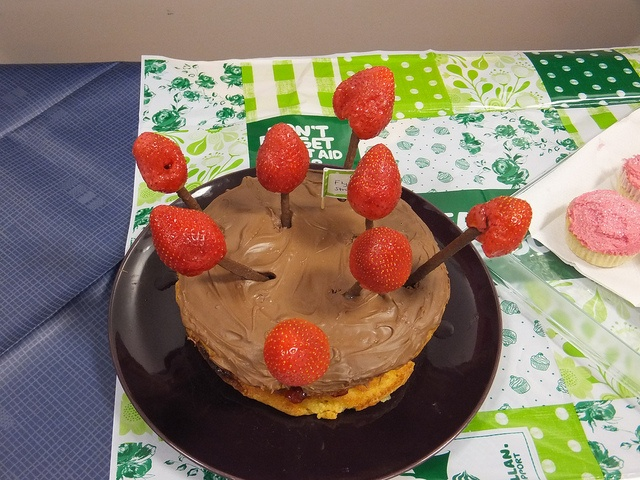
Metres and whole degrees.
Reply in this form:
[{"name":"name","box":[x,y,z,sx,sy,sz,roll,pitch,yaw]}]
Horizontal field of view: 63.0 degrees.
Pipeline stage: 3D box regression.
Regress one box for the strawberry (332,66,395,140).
[{"name":"strawberry","box":[0.150,-0.449,1.766,0.183,0.232,0.146,40,41,9]}]

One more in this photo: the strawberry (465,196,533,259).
[{"name":"strawberry","box":[0.514,-0.048,1.498,0.153,0.122,0.143,-17,64,-10]}]
